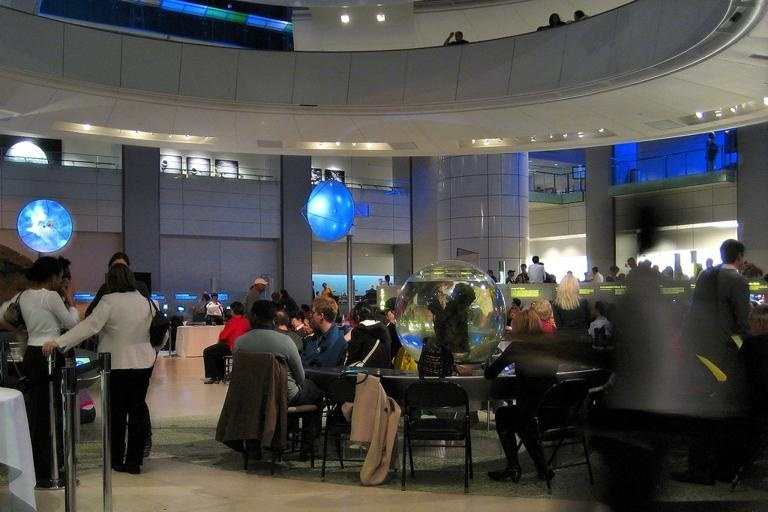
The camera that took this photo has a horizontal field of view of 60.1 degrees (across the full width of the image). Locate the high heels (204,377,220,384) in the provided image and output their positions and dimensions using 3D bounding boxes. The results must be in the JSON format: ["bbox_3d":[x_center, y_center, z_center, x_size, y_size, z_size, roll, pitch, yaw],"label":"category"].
[{"bbox_3d":[-3.384,2.433,12.905,0.334,0.134,0.128,3,-3,9],"label":"high heels"}]

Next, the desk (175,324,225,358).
[{"bbox_3d":[-5.201,2.358,18.428,1.405,0.697,1.353,1,-4,-29],"label":"desk"}]

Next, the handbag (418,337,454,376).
[{"bbox_3d":[0.527,1.027,6.796,0.321,0.347,0.368,2,4,18],"label":"handbag"}]
